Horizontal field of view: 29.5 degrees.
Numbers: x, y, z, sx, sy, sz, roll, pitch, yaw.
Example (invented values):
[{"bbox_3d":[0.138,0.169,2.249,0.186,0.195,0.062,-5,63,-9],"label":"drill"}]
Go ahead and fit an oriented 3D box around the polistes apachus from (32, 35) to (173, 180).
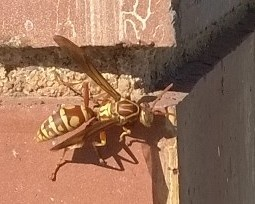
[{"bbox_3d":[-0.082,0.026,2.058,0.526,0.334,0.478,-3,45,0],"label":"polistes apachus"}]
